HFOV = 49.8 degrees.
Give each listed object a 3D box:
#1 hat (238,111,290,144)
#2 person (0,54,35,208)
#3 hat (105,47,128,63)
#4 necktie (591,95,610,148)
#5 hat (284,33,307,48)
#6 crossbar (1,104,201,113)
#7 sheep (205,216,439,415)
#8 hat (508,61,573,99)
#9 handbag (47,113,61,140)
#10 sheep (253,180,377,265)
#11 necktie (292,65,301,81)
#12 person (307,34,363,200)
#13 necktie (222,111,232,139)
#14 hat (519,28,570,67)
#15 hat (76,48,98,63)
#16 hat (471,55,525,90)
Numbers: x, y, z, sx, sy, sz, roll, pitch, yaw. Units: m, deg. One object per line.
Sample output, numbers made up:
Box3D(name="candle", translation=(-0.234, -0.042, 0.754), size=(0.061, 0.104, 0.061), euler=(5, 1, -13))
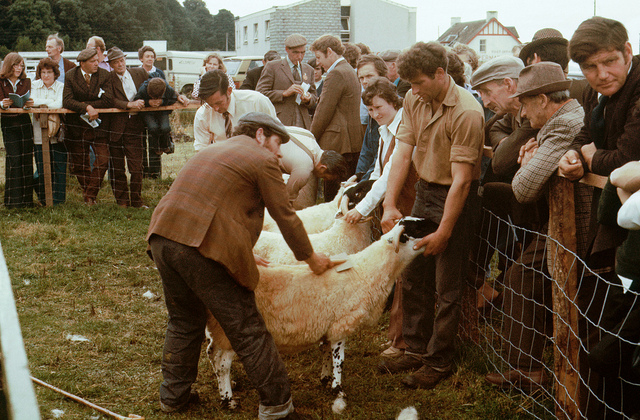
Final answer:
Box3D(name="hat", translation=(-0.603, -0.946, 7.782), size=(0.421, 0.177, 0.368), euler=(21, -1, 1))
Box3D(name="person", translation=(-5.872, -1.489, 13.326), size=(0.644, 2.883, 0.720), euler=(-5, 12, -23))
Box3D(name="hat", translation=(-4.000, -2.987, 13.458), size=(0.307, 0.270, 0.494), euler=(-3, 12, -17))
Box3D(name="necktie", translation=(2.982, -0.947, 7.373), size=(0.115, 0.515, 0.157), euler=(-7, 13, -30))
Box3D(name="hat", translation=(-0.453, -2.988, 12.364), size=(0.362, 0.235, 0.327), euler=(-1, 12, -8))
Box3D(name="crossbar", translation=(-4.341, -1.960, 13.566), size=(3.553, 0.137, 0.347), euler=(-4, 12, -20))
Box3D(name="sheep", translation=(-0.581, 0.749, 9.205), size=(3.526, 2.873, 1.476), euler=(-3, 15, -12))
Box3D(name="hat", translation=(2.432, -1.489, 7.774), size=(0.782, 0.324, 0.693), euler=(-10, 16, 9))
Box3D(name="handbag", translation=(-5.200, -1.665, 13.453), size=(0.130, 0.374, 0.278), euler=(5, -2, -9))
Box3D(name="sheep", translation=(0.002, 0.130, 9.333), size=(1.759, 1.433, 0.812), euler=(-2, 29, -3))
Box3D(name="necktie", translation=(-0.443, -2.478, 12.658), size=(0.123, 0.264, 0.170), euler=(9, 14, 37))
Box3D(name="person", translation=(0.250, -1.273, 11.707), size=(0.883, 3.173, 0.972), euler=(10, 19, 30))
Box3D(name="necktie", translation=(-1.327, -1.203, 9.811), size=(0.132, 0.384, 0.241), euler=(-1, 12, -7))
Box3D(name="hat", translation=(3.035, -2.205, 9.209), size=(0.631, 0.292, 0.744), euler=(0, -11, 1))
Box3D(name="hat", translation=(-4.464, -2.921, 13.184), size=(0.366, 0.256, 0.284), euler=(-2, 12, -13))
Box3D(name="hat", translation=(2.162, -1.655, 8.378), size=(0.463, 0.252, 0.376), euler=(-4, 5, 2))
